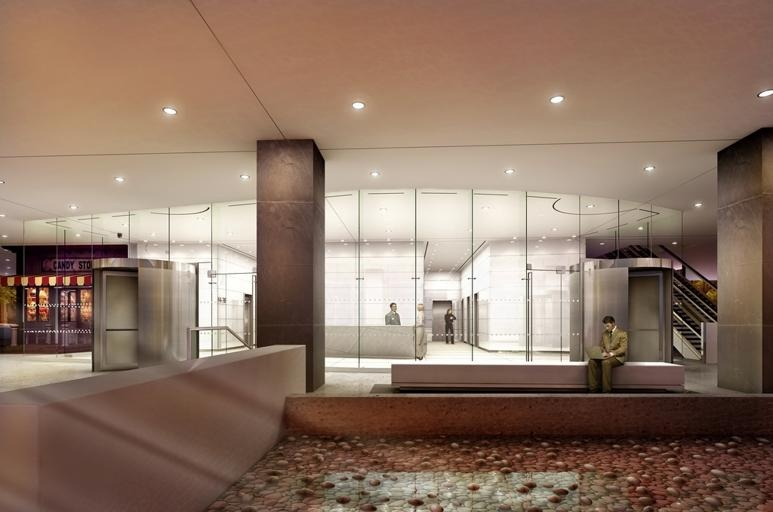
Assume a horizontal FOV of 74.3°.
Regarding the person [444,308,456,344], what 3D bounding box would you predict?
[{"bbox_3d":[1.652,1.838,13.342,0.285,0.879,0.285,1,12,3],"label":"person"}]
